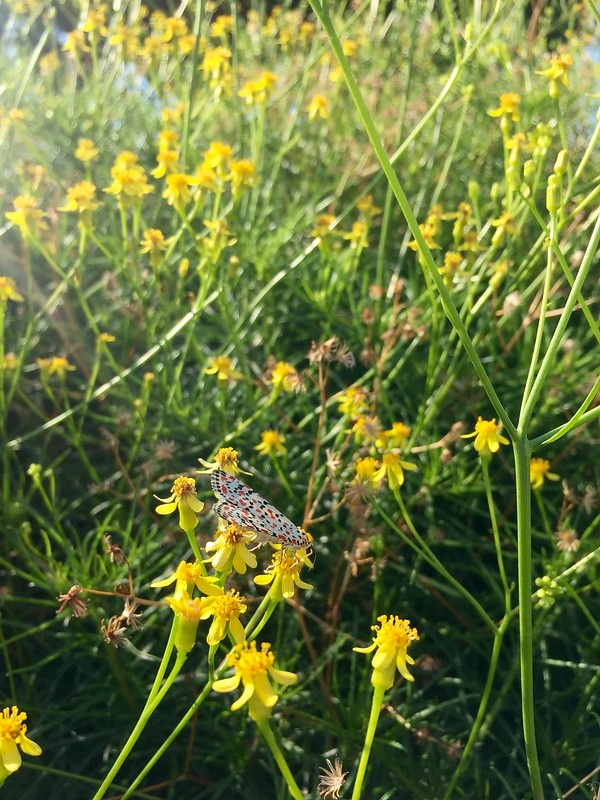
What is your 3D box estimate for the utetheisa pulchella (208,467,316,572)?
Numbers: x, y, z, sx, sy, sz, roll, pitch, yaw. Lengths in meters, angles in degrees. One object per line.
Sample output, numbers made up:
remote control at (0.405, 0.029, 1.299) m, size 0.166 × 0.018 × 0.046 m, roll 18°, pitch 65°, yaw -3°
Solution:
utetheisa pulchella at (-0.063, 0.163, 1.322) m, size 0.199 × 0.139 × 0.113 m, roll -9°, pitch 16°, yaw -25°
